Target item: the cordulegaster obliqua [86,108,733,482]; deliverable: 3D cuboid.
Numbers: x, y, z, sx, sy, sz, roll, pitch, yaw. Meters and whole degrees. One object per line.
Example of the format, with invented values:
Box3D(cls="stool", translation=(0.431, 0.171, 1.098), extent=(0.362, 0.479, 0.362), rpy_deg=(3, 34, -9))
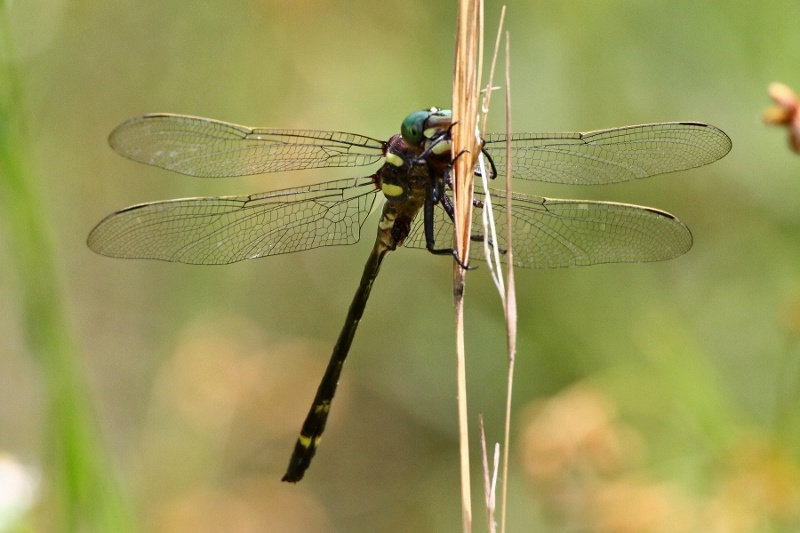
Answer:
Box3D(cls="cordulegaster obliqua", translation=(0.106, 0.182, 4.158), extent=(2.637, 1.911, 0.888), rpy_deg=(1, -1, 1))
